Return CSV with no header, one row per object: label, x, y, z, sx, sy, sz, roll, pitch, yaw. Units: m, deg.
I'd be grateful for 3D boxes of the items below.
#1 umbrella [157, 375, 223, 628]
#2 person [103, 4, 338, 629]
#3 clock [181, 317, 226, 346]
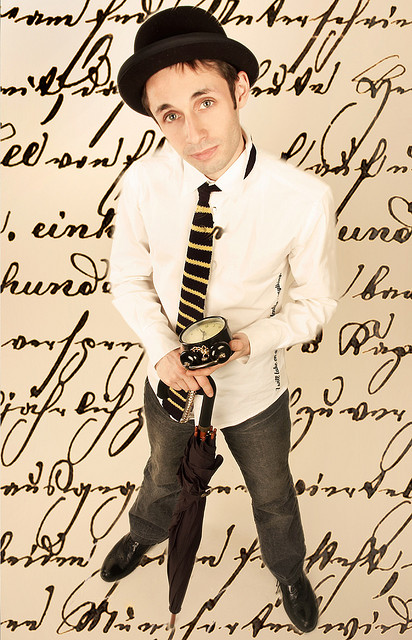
umbrella,-0.048,0.582,1.839,0.175,0.795,0.140,11,1,-4
person,0.022,0.166,1.981,0.607,2.007,0.758,-13,12,-27
clock,-0.004,0.028,1.580,0.119,0.055,0.080,-6,10,2
